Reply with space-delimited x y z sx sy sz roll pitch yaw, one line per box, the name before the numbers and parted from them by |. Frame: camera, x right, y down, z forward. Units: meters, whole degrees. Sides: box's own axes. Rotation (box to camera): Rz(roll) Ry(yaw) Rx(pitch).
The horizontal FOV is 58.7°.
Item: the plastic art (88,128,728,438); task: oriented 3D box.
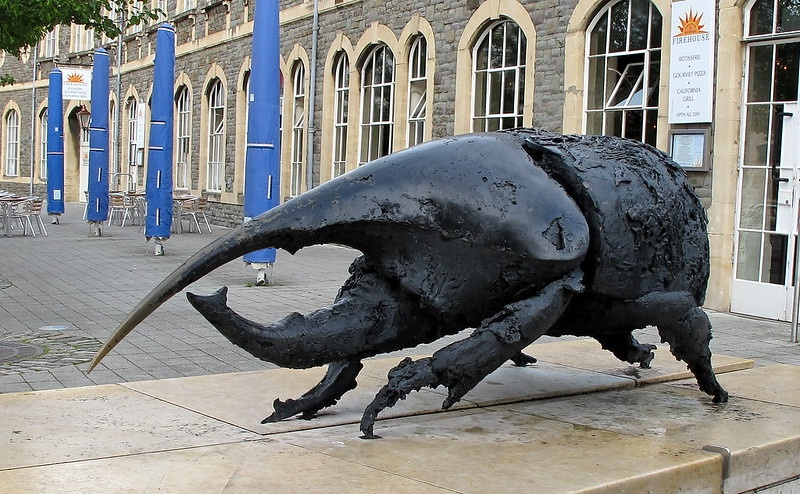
plastic art | 0.284 0.294 4.742 4.482 1.577 1.732 -3 6 -37
